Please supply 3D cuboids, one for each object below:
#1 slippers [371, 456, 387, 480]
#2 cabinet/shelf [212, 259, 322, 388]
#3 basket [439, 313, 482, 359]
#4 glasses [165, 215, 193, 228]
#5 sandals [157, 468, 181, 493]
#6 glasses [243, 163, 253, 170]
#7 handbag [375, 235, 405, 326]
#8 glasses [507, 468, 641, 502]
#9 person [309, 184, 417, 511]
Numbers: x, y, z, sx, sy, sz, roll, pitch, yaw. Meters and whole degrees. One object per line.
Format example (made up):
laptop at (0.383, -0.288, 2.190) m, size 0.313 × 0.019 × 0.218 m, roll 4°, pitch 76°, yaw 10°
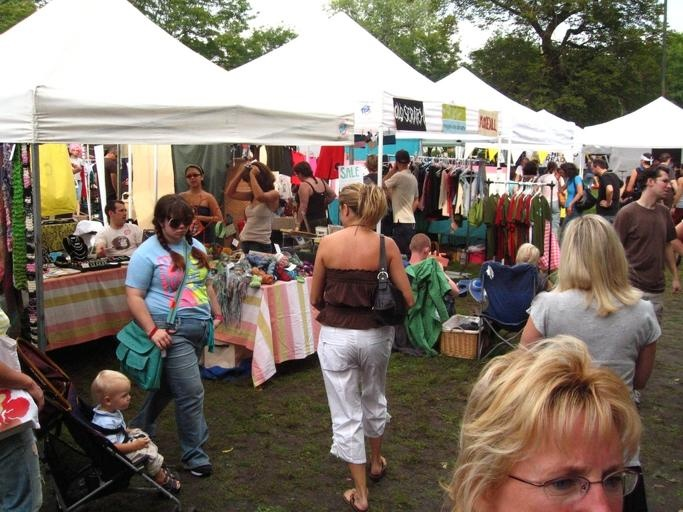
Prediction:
slippers at (0.280, 1.586, 4.034) m, size 0.070 × 0.086 × 0.213 m, roll 0°, pitch 14°, yaw 7°
cabinet/shelf at (-0.747, 0.636, 5.671) m, size 1.144 × 0.647 × 0.991 m, roll 5°, pitch 10°, yaw 37°
basket at (1.434, 0.959, 6.247) m, size 0.333 × 0.259 × 0.561 m, roll 1°, pitch 2°, yaw 22°
glasses at (-1.129, -0.235, 3.782) m, size 0.068 × 0.081 × 0.182 m, roll 7°, pitch 12°, yaw 41°
sandals at (-1.219, 1.554, 3.730) m, size 0.222 × 0.097 × 0.093 m, roll 12°, pitch 16°, yaw 40°
glasses at (-1.129, -1.072, 6.451) m, size 0.073 × 0.032 × 0.076 m, roll -6°, pitch 2°, yaw 15°
handbag at (0.316, 0.176, 3.463) m, size 0.203 × 0.584 × 0.231 m, roll 1°, pitch 9°, yaw 9°
glasses at (0.589, 0.593, 1.393) m, size 0.151 × 0.045 × 0.152 m, roll -2°, pitch -8°, yaw -18°
person at (0.133, 0.614, 3.648) m, size 0.644 × 2.187 × 0.496 m, roll -2°, pitch 9°, yaw -9°
